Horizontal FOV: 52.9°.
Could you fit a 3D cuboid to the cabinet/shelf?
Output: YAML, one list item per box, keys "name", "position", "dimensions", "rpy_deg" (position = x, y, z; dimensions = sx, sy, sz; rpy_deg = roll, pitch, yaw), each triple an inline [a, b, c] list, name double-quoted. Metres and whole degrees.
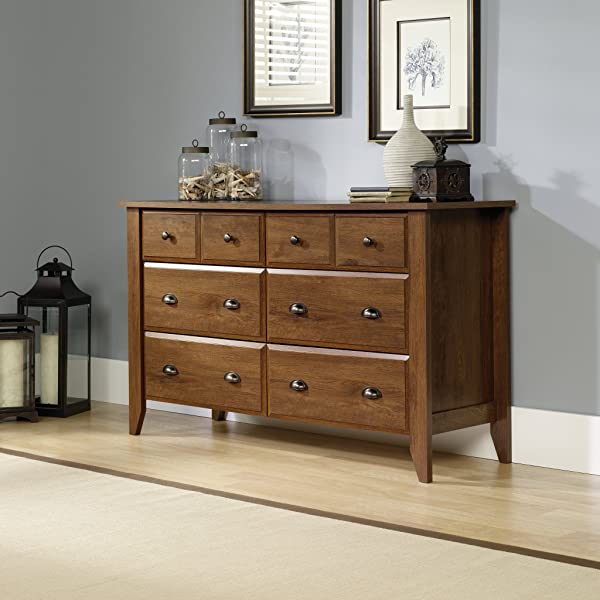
- name: "cabinet/shelf"
  position: [0.017, 0.093, 2.416]
  dimensions: [1.415, 0.844, 0.609]
  rpy_deg: [3, 4, 37]

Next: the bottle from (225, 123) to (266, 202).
- name: "bottle"
  position: [-0.235, -0.566, 2.567]
  dimensions: [0.140, 0.306, 0.109]
  rpy_deg: [-1, 0, -4]

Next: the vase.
- name: "vase"
  position: [0.391, -0.569, 2.176]
  dimensions: [0.156, 0.321, 0.148]
  rpy_deg: [-1, 0, -22]

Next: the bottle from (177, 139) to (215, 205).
- name: "bottle"
  position: [-0.450, -0.540, 2.588]
  dimensions: [0.140, 0.264, 0.147]
  rpy_deg: [-1, 0, 0]
